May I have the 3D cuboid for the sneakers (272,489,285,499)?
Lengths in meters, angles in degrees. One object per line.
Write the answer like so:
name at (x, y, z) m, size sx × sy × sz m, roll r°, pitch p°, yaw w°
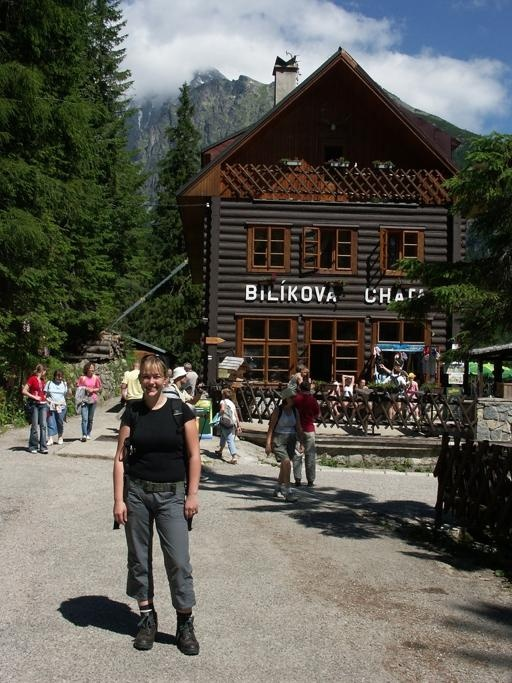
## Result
sneakers at (0.356, 2.446, 11.247) m, size 0.243 × 0.189 × 0.085 m, roll 2°, pitch 2°, yaw -19°

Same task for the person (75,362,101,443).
person at (-3.696, 1.281, 15.191) m, size 0.480 × 1.148 × 1.872 m, roll 6°, pitch -3°, yaw -13°

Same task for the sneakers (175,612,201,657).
sneakers at (-0.454, 1.921, 4.650) m, size 0.165 × 0.245 × 0.260 m, roll 5°, pitch -3°, yaw -5°

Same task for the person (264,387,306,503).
person at (0.428, 1.624, 11.231) m, size 0.518 × 1.744 × 0.761 m, roll 5°, pitch -4°, yaw 4°

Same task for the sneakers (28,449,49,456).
sneakers at (-4.059, 2.035, 12.992) m, size 0.400 × 0.188 × 0.137 m, roll -1°, pitch -1°, yaw 16°

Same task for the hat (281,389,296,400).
hat at (0.508, 0.814, 11.012) m, size 0.172 × 0.095 × 0.169 m, roll -25°, pitch 16°, yaw -29°

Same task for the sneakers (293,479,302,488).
sneakers at (0.755, 2.568, 12.708) m, size 0.132 × 0.157 × 0.157 m, roll -1°, pitch 1°, yaw 4°

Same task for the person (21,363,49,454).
person at (-4.172, 1.251, 13.205) m, size 0.538 × 1.213 × 0.692 m, roll 6°, pitch -4°, yaw -18°

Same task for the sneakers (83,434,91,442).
sneakers at (-3.638, 2.045, 14.910) m, size 0.084 × 0.121 × 0.270 m, roll 0°, pitch -13°, yaw -7°

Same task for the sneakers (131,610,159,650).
sneakers at (-0.740, 1.906, 4.680) m, size 0.107 × 0.225 × 0.348 m, roll -4°, pitch -2°, yaw 7°

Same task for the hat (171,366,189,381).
hat at (-1.580, 0.635, 14.450) m, size 0.297 × 0.128 × 0.230 m, roll -22°, pitch 10°, yaw -26°

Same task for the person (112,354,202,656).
person at (-0.674, 1.063, 4.706) m, size 0.612 × 1.938 × 0.342 m, roll 5°, pitch -4°, yaw -7°

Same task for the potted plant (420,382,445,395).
potted plant at (5.742, 1.504, 22.764) m, size 0.635 × 0.298 × 0.453 m, roll -1°, pitch 3°, yaw 7°
